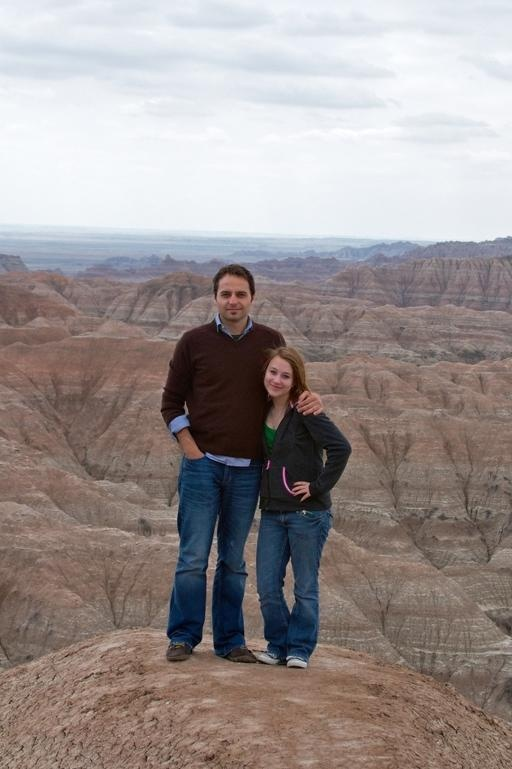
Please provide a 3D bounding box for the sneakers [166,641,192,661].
[{"bbox_3d":[-0.586,2.037,4.940,0.188,0.129,0.146,6,-13,-10],"label":"sneakers"}]

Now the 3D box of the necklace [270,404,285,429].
[{"bbox_3d":[0.166,0.254,5.135,0.169,0.211,0.121,3,-10,-2],"label":"necklace"}]
